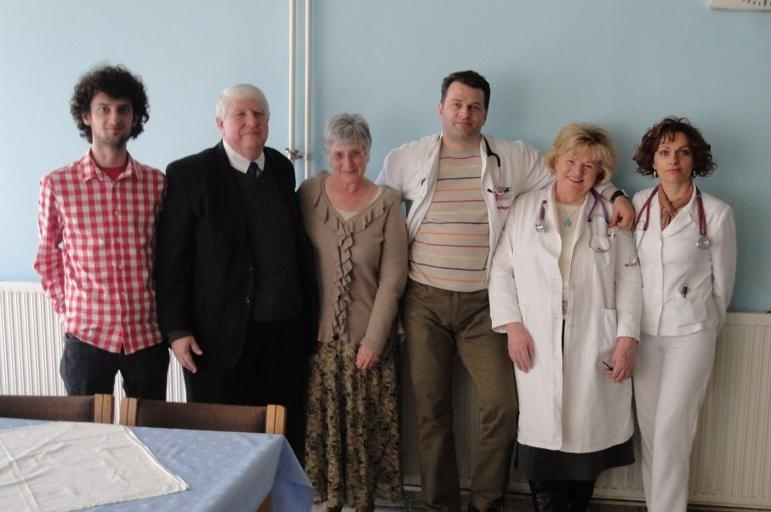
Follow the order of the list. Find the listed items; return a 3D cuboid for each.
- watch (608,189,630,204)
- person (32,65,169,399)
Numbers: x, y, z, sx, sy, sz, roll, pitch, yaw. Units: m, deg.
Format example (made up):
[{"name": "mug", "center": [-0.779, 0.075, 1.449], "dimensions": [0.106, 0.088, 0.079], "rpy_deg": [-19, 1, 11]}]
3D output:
[{"name": "watch", "center": [1.255, -0.308, 3.864], "dimensions": [0.106, 0.072, 0.099], "rpy_deg": [-9, -30, 34]}, {"name": "person", "center": [-1.453, -0.093, 3.678], "dimensions": [0.659, 1.692, 0.356], "rpy_deg": [-5, 11, -17]}]
